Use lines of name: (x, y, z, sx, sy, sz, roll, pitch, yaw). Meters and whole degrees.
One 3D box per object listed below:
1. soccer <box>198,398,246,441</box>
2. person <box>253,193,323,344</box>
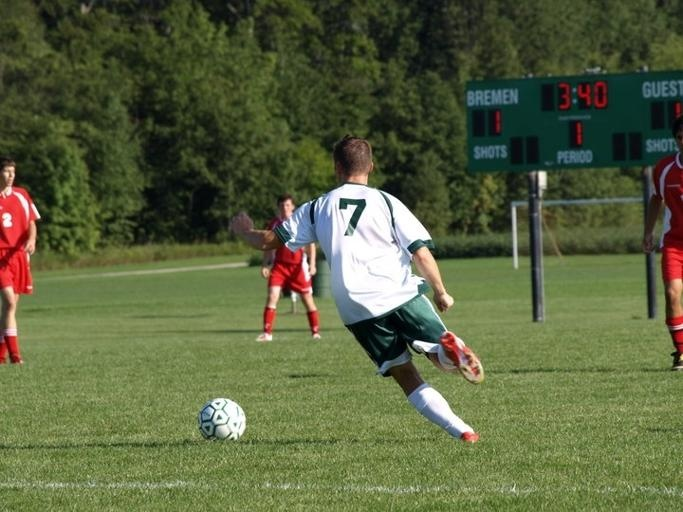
soccer: (-2.269, 3.079, 30.086, 0.850, 0.891, 0.830, -1, -10, 5)
person: (-1.194, 0.225, 35.016, 1.380, 3.145, 0.844, -1, -4, 3)
